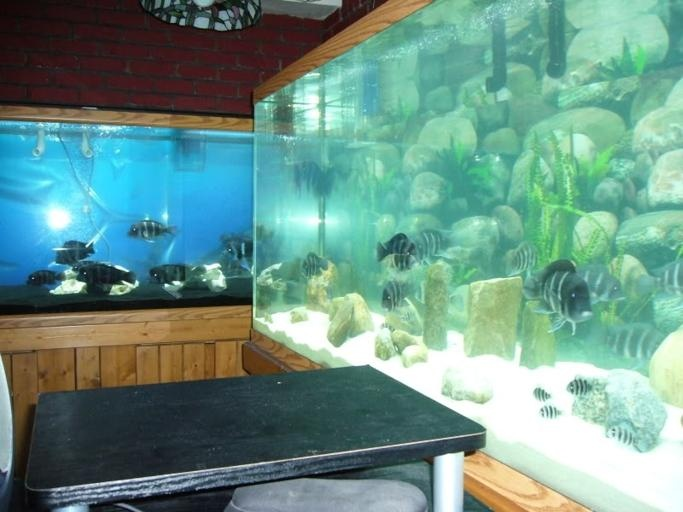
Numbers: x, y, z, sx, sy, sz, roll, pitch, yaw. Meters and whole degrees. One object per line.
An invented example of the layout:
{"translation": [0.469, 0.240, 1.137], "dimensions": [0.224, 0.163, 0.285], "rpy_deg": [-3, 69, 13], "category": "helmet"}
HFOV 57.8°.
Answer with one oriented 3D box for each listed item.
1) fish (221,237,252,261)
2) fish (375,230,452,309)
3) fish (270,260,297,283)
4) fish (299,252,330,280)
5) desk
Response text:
{"translation": [-0.672, -0.035, 4.077], "dimensions": [0.164, 0.141, 0.045], "rpy_deg": [-11, -4, -22], "category": "fish"}
{"translation": [0.175, 0.019, 1.822], "dimensions": [0.111, 0.113, 0.319], "rpy_deg": [14, -17, -29], "category": "fish"}
{"translation": [-0.250, 0.074, 2.764], "dimensions": [0.110, 0.092, 0.043], "rpy_deg": [7, -3, 45], "category": "fish"}
{"translation": [-0.106, 0.049, 2.470], "dimensions": [0.007, 0.120, 0.268], "rpy_deg": [-6, 15, -24], "category": "fish"}
{"translation": [-0.203, 0.427, 1.414], "dimensions": [0.901, 0.180, 0.525], "rpy_deg": [-4, 14, -19], "category": "desk"}
